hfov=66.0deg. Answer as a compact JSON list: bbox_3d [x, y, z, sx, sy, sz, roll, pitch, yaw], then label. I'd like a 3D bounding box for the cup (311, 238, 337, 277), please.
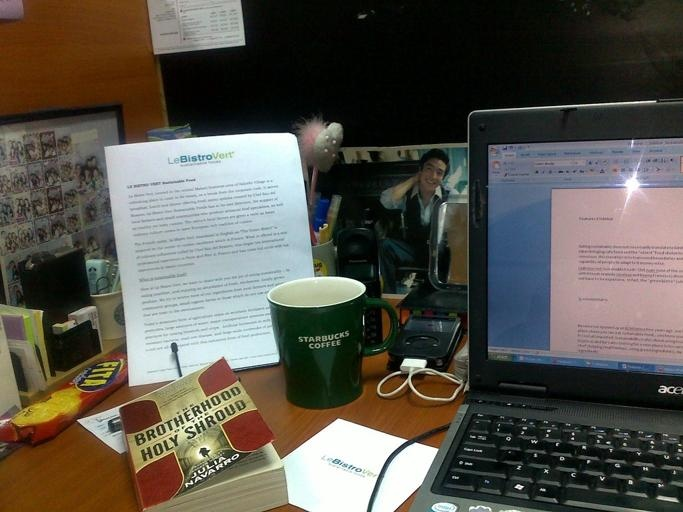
[{"bbox_3d":[-0.025,0.009,0.909,0.053,0.055,0.043,0,7,3],"label":"cup"}]
